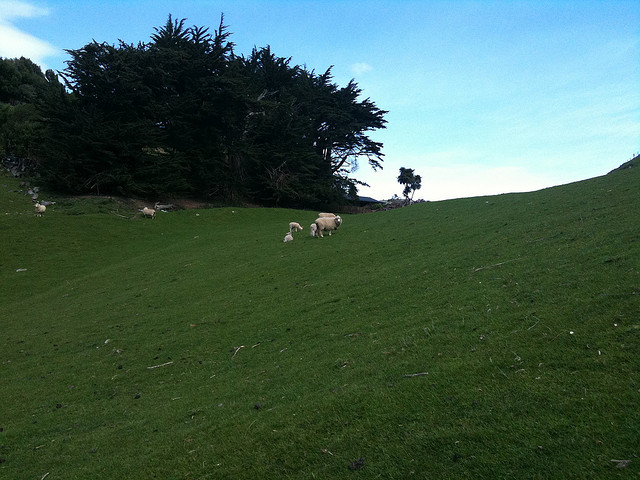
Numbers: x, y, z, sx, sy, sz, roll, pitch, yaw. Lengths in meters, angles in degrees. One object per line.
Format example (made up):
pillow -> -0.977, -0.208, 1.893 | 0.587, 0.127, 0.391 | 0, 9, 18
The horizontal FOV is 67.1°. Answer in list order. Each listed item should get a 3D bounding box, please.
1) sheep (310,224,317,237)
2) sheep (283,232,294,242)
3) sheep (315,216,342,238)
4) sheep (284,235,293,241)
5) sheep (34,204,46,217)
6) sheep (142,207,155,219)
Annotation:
sheep -> -0.319, -0.461, 23.160 | 0.242, 0.614, 0.584 | -5, 5, -16
sheep -> -1.575, -0.144, 23.952 | 0.371, 0.216, 0.472 | -12, -13, -17
sheep -> 0.395, -0.647, 23.284 | 0.789, 0.934, 1.350 | 2, 6, 45
sheep -> -1.534, -0.123, 23.791 | 0.310, 0.272, 0.717 | -7, 6, -42
sheep -> -20.219, -2.219, 34.927 | 0.537, 0.699, 1.357 | -6, 5, -32
sheep -> -12.954, -2.052, 36.627 | 0.768, 0.744, 1.295 | -4, 4, -16
